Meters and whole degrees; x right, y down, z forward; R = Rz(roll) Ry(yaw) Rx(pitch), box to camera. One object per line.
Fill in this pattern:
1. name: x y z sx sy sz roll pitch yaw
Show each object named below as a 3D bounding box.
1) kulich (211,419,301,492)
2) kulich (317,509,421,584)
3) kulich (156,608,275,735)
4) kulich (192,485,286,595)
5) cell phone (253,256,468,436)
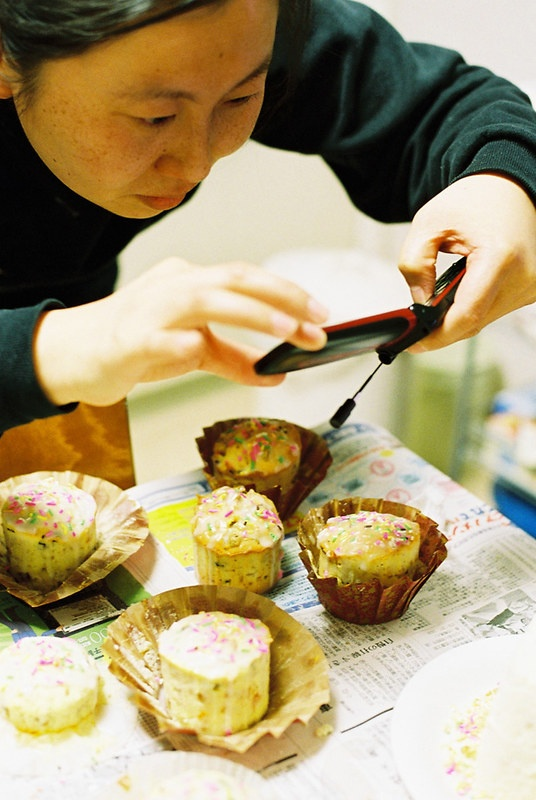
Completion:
1. kulich: -0.021 0.096 1.254 0.131 0.073 0.131 27 52 26
2. kulich: 0.146 0.211 1.020 0.146 0.073 0.154 1 20 23
3. kulich: -0.061 0.309 0.818 0.132 0.087 0.128 6 23 5
4. kulich: -0.045 0.228 1.065 0.144 0.118 0.136 -7 35 -15
5. cell phone: 0.146 -0.065 0.849 0.119 0.052 0.395 -21 -2 40
